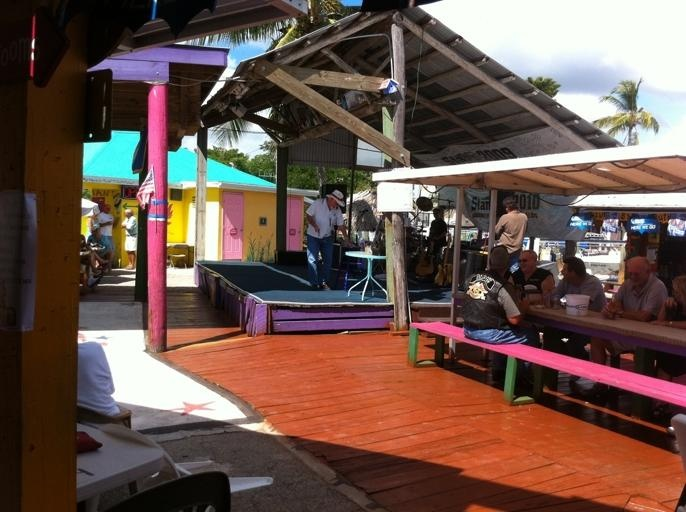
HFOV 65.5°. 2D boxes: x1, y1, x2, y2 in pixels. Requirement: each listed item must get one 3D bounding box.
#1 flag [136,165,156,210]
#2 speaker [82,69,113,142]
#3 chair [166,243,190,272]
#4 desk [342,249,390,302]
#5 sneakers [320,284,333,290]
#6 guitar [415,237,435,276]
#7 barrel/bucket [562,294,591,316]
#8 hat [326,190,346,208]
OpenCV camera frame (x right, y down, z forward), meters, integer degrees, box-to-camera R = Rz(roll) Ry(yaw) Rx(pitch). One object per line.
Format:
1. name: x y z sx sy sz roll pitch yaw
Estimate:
1. flag: -2.511 -0.888 6.809 0.185 0.488 0.424 0 5 -23
2. speaker: -1.050 -0.637 2.284 0.232 0.306 0.087 7 7 44
3. chair: -5.841 -0.054 19.257 0.955 0.858 0.691 0 5 -30
4. desk: 0.485 0.340 9.881 0.958 0.952 0.875 0 -1 -25
5. sneakers: -0.327 0.583 10.285 0.093 0.095 0.228 1 -8 -12
6. guitar: 1.988 0.062 12.894 0.410 0.823 0.828 3 5 7
7. barrel/bucket: 2.471 0.505 5.662 0.224 0.162 0.202 1 -1 25
8. hat: -0.134 -1.116 10.061 0.261 0.307 0.531 3 4 6
